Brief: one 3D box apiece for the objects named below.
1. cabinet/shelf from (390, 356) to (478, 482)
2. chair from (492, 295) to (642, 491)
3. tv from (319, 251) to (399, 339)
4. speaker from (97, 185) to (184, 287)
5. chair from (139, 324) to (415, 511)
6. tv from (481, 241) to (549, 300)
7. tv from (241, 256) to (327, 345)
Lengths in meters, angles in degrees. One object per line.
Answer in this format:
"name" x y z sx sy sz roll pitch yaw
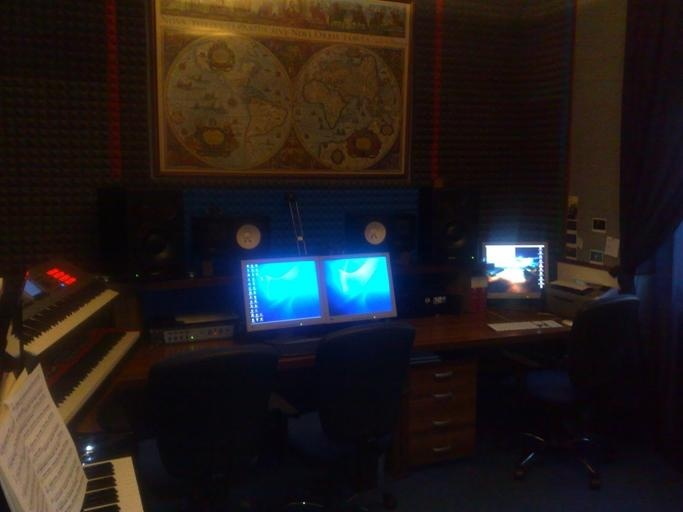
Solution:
"cabinet/shelf" 0.622 1.050 3.919 0.663 0.966 0.671 -1 1 -16
"chair" 1.538 0.878 3.693 0.950 1.033 0.828 -9 -5 31
"tv" 0.093 0.259 3.611 0.474 0.450 0.057 -6 -5 -12
"speaker" -1.242 -0.109 3.432 0.571 0.834 0.408 -2 3 -36
"chair" -0.348 0.900 3.059 0.976 0.946 0.596 -3 11 -18
"tv" 1.340 0.124 4.224 0.407 0.360 0.042 1 -3 0
"tv" -0.394 0.297 3.577 0.489 0.447 0.052 -6 -5 -17
